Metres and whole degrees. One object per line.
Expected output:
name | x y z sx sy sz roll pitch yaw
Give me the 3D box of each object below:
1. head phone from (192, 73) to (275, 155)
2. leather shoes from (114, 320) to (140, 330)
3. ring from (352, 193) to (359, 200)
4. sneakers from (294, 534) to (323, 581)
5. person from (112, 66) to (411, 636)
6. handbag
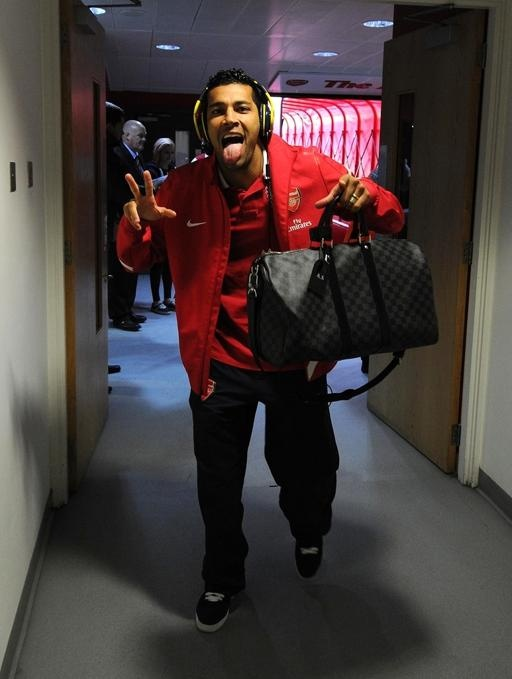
head phone | -0.034 -0.578 1.236 0.166 0.212 0.084 6 41 13
leather shoes | -1.521 -0.154 5.752 0.364 0.156 0.128 -1 7 20
ring | 0.201 -0.293 1.005 0.011 0.006 0.006 -23 4 -27
sneakers | 0.169 0.710 1.607 0.103 0.171 0.039 1 3 7
person | 0.000 0.022 1.283 0.715 1.363 0.571 0 6 16
handbag | 0.186 -0.133 1.048 0.397 0.360 0.150 -7 4 -15
